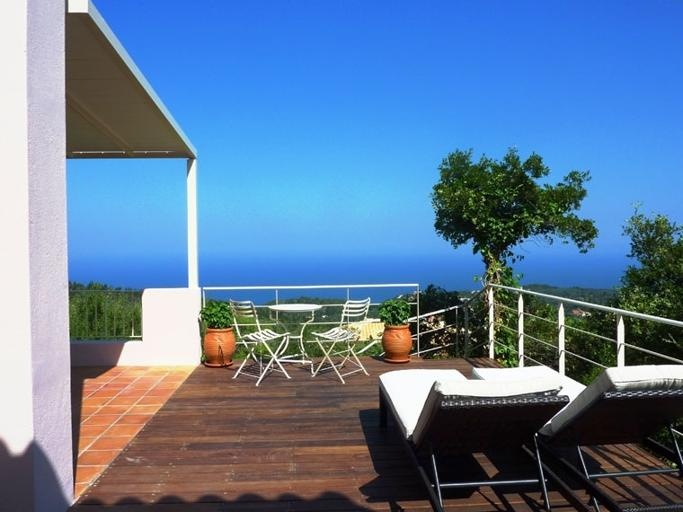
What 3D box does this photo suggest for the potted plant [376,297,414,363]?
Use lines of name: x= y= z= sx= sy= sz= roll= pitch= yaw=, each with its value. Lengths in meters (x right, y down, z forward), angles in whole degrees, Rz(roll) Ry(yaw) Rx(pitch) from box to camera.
potted plant: x=0.708 y=0.984 z=6.946 sx=0.411 sy=0.843 sz=0.262 roll=-2 pitch=2 yaw=3

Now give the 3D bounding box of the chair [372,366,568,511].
chair: x=0.812 y=1.132 z=3.849 sx=0.649 sy=0.683 sz=1.799 roll=-1 pitch=3 yaw=-5
